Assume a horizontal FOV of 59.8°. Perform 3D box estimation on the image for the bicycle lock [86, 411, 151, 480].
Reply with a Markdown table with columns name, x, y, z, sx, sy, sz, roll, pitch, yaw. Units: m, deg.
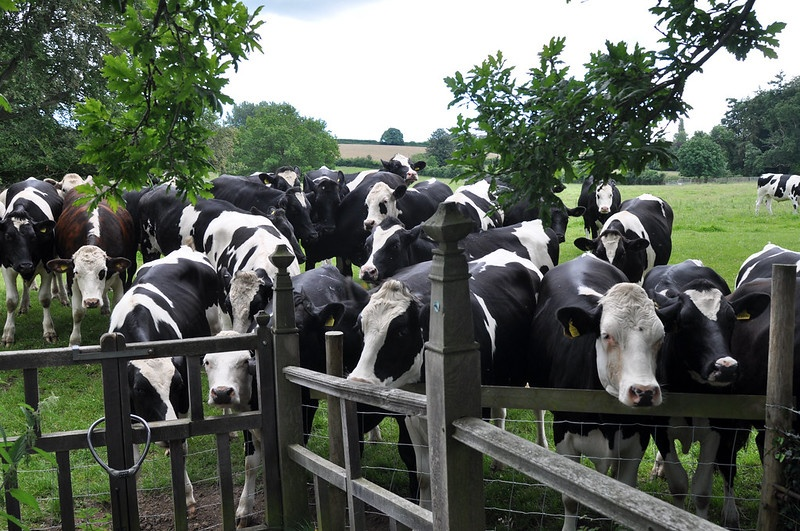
| name | x | y | z | sx | sy | sz | roll | pitch | yaw |
| --- | --- | --- | --- | --- | --- | --- | --- | --- | --- |
| bicycle lock | -2.445 | 1.545 | 6.050 | 0.561 | 0.123 | 0.742 | 3 | 33 | -27 |
